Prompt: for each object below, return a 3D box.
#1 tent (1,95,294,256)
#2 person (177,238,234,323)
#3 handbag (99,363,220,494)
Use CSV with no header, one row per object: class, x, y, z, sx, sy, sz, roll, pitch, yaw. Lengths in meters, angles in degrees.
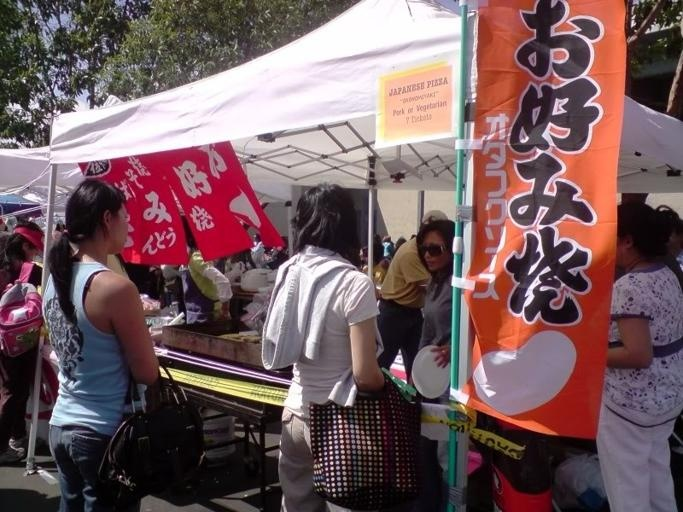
tent,-1.426,-0.521,4.453,2.447,1.161,2.431,-9,13,-41
person,-1.343,0.264,5.000,0.265,0.982,0.577,-14,23,-26
handbag,-0.892,0.841,2.502,0.463,0.660,0.318,-6,-9,-43
